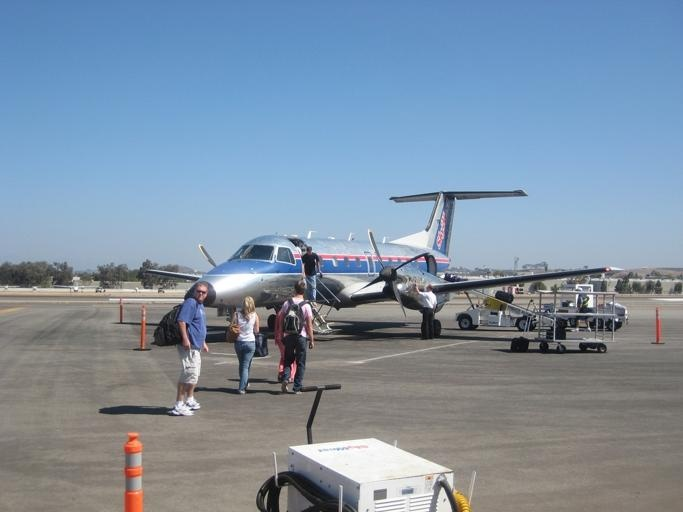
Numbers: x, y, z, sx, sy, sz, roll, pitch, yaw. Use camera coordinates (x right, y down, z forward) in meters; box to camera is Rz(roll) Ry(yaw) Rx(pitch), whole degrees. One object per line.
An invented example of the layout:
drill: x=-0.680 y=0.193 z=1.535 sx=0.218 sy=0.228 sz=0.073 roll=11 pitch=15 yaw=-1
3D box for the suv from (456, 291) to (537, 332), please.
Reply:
suv: x=5.814 y=2.316 z=29.348 sx=3.192 sy=1.151 sz=1.631 roll=1 pitch=-3 yaw=11

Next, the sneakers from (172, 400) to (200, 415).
sneakers: x=-2.659 y=2.553 z=12.285 sx=0.381 sy=0.113 sz=0.255 roll=2 pitch=-5 yaw=-2

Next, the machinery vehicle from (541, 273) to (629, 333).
machinery vehicle: x=8.879 y=1.985 z=25.763 sx=1.313 sy=1.471 sz=3.478 roll=15 pitch=-13 yaw=-30

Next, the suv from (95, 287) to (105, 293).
suv: x=-38.536 y=5.276 z=115.661 sx=1.864 sy=0.993 sz=2.949 roll=0 pitch=-5 yaw=-10

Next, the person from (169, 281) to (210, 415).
person: x=-2.609 y=1.562 z=12.405 sx=0.500 sy=1.881 sz=0.564 roll=3 pitch=-1 yaw=-9
